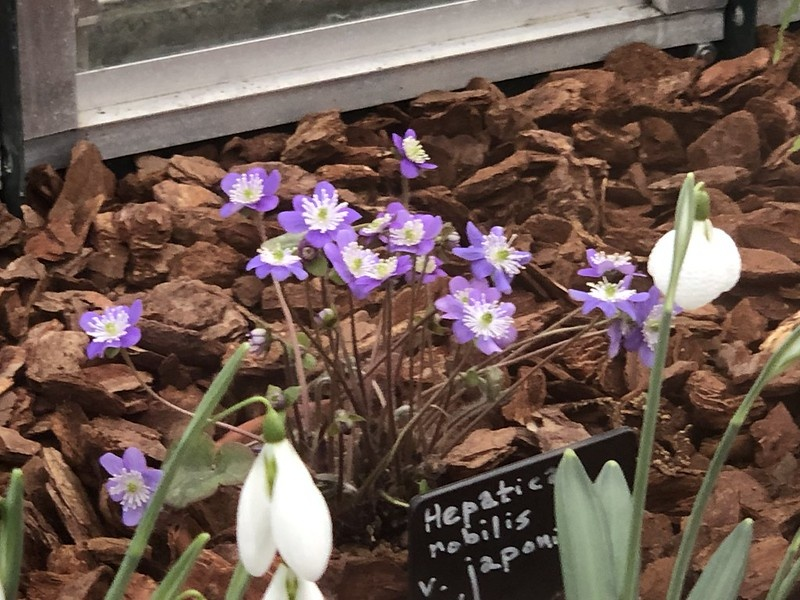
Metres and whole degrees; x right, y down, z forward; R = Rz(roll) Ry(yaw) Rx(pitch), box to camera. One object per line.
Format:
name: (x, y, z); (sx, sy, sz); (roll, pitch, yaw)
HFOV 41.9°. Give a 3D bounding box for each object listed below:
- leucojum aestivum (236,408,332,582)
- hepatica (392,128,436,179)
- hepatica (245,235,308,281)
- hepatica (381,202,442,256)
leucojum aestivum: (-0.129, 0.242, 1.208); (0.104, 0.201, 0.097); (-17, 36, -41)
hepatica: (0.019, -0.261, 1.888); (0.036, 0.085, 0.095); (-21, 23, 32)
hepatica: (-0.206, -0.060, 1.810); (0.098, 0.041, 0.084); (-8, 43, -9)
hepatica: (0.030, -0.118, 1.758); (0.106, 0.085, 0.097); (1, 15, 2)
